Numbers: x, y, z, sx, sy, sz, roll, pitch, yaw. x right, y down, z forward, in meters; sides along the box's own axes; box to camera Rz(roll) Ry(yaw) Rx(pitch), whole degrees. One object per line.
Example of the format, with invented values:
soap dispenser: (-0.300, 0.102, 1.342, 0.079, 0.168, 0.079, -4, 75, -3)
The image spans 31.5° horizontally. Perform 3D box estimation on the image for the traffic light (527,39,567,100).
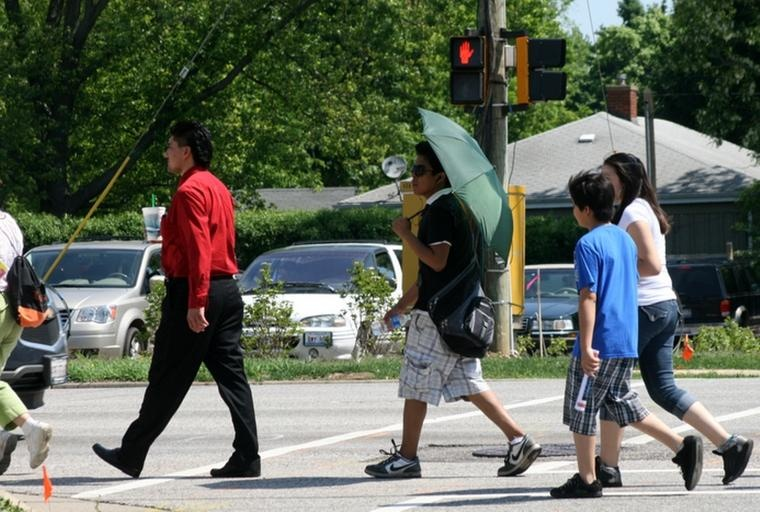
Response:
traffic light: (2.825, -3.078, 22.547, 0.612, 1.058, 0.654, -1, -1, 7)

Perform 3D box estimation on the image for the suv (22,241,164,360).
suv: (-5.067, 0.700, 24.170, 1.811, 1.349, 2.940, 0, -3, 8)

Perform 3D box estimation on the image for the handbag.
handbag: (0.985, 0.639, 16.066, 0.790, 1.194, 0.313, -1, -1, -8)

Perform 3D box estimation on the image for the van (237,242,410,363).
van: (-1.080, 0.678, 23.369, 1.806, 1.208, 2.800, -1, -3, 16)
